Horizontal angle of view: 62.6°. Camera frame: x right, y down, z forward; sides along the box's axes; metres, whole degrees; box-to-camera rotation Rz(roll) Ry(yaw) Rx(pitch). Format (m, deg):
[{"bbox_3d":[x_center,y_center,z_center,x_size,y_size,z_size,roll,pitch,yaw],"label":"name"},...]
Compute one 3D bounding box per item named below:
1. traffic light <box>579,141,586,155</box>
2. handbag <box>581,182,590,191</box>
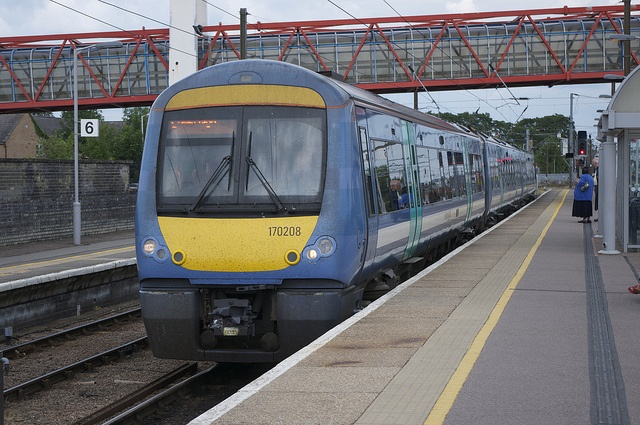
[{"bbox_3d":[15.475,-3.740,30.810,0.412,0.907,0.441,2,4,23],"label":"traffic light"},{"bbox_3d":[10.641,-0.994,21.000,0.210,0.101,0.271,-25,-8,-20],"label":"handbag"}]
